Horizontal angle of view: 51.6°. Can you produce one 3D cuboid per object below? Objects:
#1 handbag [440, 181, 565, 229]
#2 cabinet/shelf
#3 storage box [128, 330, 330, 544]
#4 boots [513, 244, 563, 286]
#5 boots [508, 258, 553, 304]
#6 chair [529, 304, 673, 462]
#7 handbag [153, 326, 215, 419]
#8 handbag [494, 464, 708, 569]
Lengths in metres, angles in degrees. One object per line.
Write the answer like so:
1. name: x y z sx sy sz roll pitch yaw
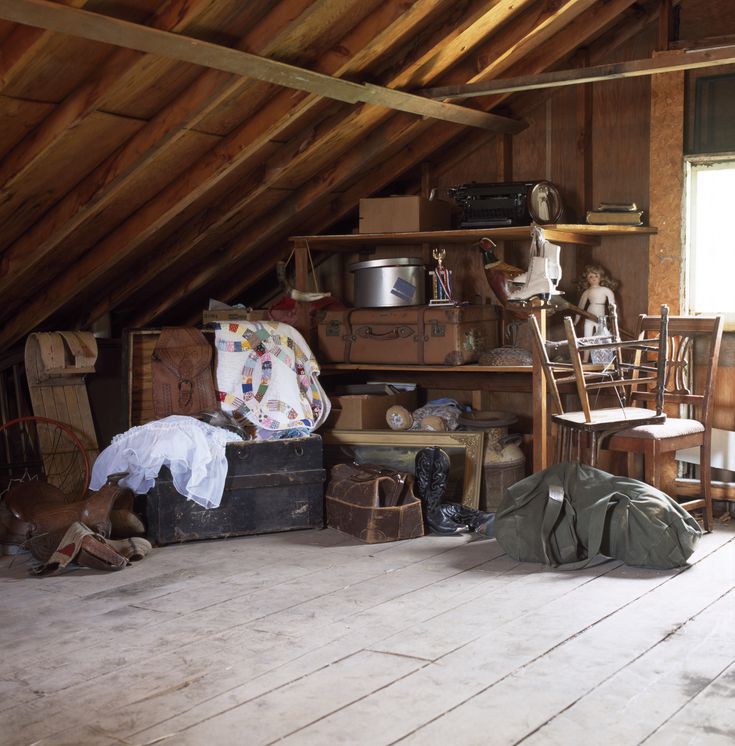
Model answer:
1. handbag: 0.721 -0.857 4.002 0.464 0.186 0.322 1 4 31
2. cabinet/shelf: 0.489 -0.190 4.330 2.142 1.496 1.322 -2 -3 12
3. storage box: -0.692 0.256 3.709 0.857 0.962 0.750 -2 2 -16
4. boots: 0.849 -0.529 3.738 0.306 0.210 0.168 -1 11 4
5. boots: 0.786 -0.455 3.672 0.238 0.205 0.114 0 3 29
6. chair: 1.017 0.136 3.371 0.683 0.706 0.604 -6 2 11
7. handbag: -0.880 -0.006 3.591 0.364 0.392 0.152 -3 -5 -7
8. handbag: 0.879 0.578 3.002 0.658 0.228 0.466 2 17 36
